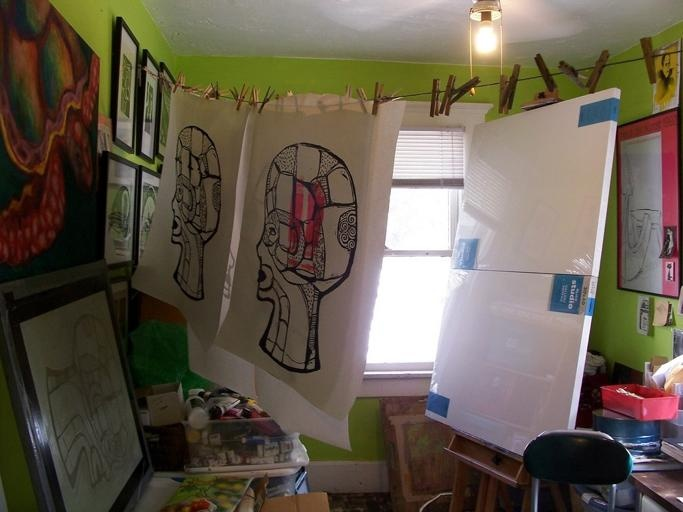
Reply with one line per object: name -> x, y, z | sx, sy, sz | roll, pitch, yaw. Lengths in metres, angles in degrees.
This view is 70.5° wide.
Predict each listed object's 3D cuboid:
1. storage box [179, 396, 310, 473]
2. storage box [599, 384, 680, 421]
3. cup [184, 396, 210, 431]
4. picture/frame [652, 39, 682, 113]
storage box -> -0.380, 0.668, 1.792 | 0.342, 0.314, 0.120 | 2, -18, -3
storage box -> 1.351, 0.667, 2.200 | 0.163, 0.091, 0.224 | 0, 0, -12
cup -> -0.547, 0.620, 1.911 | 0.071, 0.113, 0.106 | -14, 3, 12
picture/frame -> 1.741, -0.936, 2.626 | 0.067, 0.302, 0.175 | 2, 5, -6
